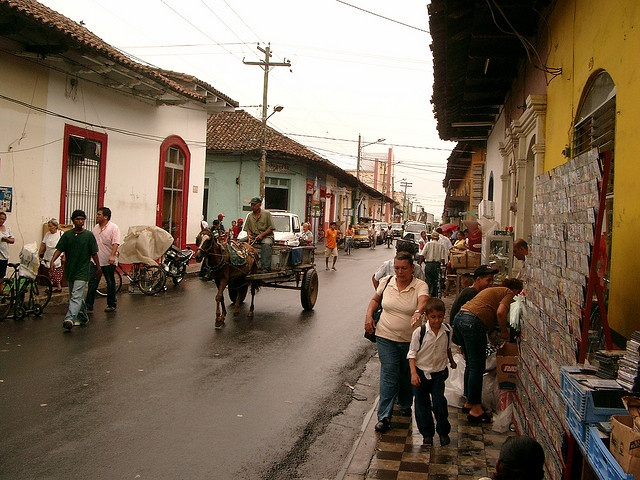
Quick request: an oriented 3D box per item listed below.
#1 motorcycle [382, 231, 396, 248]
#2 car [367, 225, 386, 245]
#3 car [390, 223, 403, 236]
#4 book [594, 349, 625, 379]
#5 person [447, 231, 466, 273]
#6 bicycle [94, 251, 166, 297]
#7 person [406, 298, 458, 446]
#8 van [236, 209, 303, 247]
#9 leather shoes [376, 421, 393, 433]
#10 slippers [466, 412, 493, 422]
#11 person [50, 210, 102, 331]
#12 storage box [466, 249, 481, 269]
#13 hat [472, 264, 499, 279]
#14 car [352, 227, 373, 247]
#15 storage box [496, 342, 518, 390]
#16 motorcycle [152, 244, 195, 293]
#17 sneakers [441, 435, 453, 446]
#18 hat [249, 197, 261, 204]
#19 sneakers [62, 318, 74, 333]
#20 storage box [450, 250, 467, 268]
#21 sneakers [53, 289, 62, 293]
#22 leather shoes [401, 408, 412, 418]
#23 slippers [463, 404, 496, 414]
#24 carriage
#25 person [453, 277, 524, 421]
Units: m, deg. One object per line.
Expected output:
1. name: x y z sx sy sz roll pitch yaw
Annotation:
1. motorcycle: 6.458 -0.154 45.828 0.975 1.488 2.216 0 -5 7
2. car: 5.443 -0.516 47.244 1.398 1.272 2.627 0 -4 7
3. car: 9.057 -1.232 57.714 1.049 1.094 1.960 0 -6 4
4. book: 2.122 0.905 3.634 0.160 0.082 0.215 1 4 42
5. person: 4.370 0.406 15.831 0.664 1.862 0.697 -2 -21 18
6. bicycle: -5.193 1.110 13.993 1.543 1.113 0.823 2 -3 -5
7. person: 1.233 1.457 5.531 0.504 1.590 0.359 2 3 2
8. van: -1.384 -0.506 19.343 1.259 1.287 2.029 2 -1 13
9. leather shoes: 0.756 2.170 5.742 0.097 0.182 0.169 6 -7 -17
10. slippers: 1.969 2.199 6.118 0.308 0.133 0.118 -1 0 -2
11. person: -4.775 0.561 9.718 0.710 2.287 1.035 2 3 -15
12. storage box: 4.353 0.557 14.093 0.605 0.636 0.518 1 2 16
13. hat: 2.298 0.434 6.866 0.242 0.140 0.170 -5 0 9
14. car: 3.592 -0.192 41.784 1.443 1.552 1.628 3 3 4
15. storage box: 2.349 1.606 6.212 0.294 0.443 0.582 0 2 13
16. motorcycle: -4.674 0.788 15.550 0.719 0.971 1.411 16 4 9
17. sneakers: 1.402 2.214 5.458 0.110 0.130 0.070 -1 0 9
18. hat: -1.540 -1.025 12.161 0.243 0.196 0.367 -1 -10 20
19. sneakers: -4.736 1.620 9.366 0.138 0.122 0.305 -24 2 -29
20. storage box: 4.125 0.574 14.734 0.426 0.472 0.459 0 0 18
21. sneakers: -6.558 1.282 12.445 0.237 0.106 0.089 -6 -6 41
22. leather shoes: 1.101 2.199 6.276 0.104 0.118 0.084 7 -3 19
23. slippers: 2.006 2.161 6.271 0.388 0.165 0.151 -1 2 0
24. carriage: -1.442 0.769 11.816 1.519 1.720 2.823 0 -5 27
25. person: 2.046 1.422 6.265 0.704 1.637 0.441 1 3 -24
